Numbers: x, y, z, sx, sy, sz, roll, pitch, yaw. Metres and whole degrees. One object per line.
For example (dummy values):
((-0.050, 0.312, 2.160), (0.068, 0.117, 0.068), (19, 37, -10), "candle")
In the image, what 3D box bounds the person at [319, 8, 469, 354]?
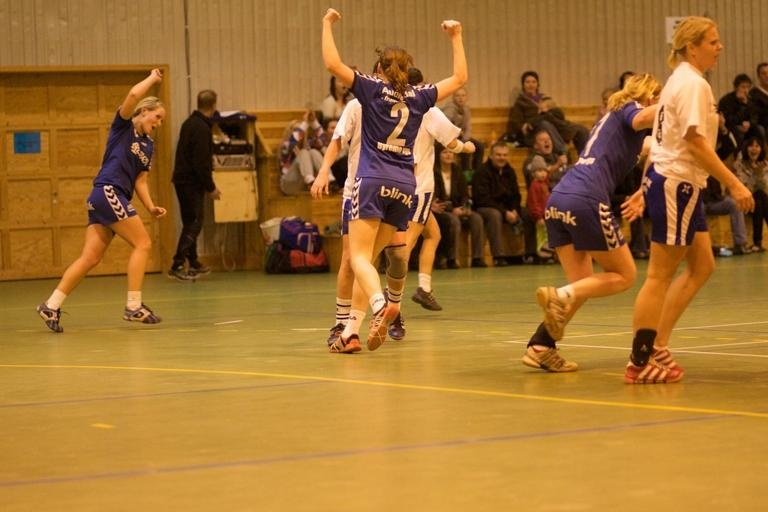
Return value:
((0.060, -0.577, 5.586), (1.049, 2.545, 0.779), (0, 5, -6), "person")

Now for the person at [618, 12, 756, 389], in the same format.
((1.908, -0.347, 4.531), (0.648, 2.291, 0.510), (3, 5, 26), "person")

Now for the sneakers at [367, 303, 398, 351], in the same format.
((-0.017, 0.510, 5.448), (0.144, 0.429, 0.168), (0, 34, -36), "sneakers")

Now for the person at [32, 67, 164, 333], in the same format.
((-2.796, -0.559, 7.470), (1.066, 2.617, 0.797), (-1, 5, -17), "person")

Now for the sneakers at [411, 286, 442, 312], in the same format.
((0.510, 0.524, 8.301), (0.443, 0.189, 0.176), (31, 13, -38), "sneakers")

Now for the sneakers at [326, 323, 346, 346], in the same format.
((-0.401, 0.667, 6.187), (0.147, 0.191, 0.439), (-2, -5, -1), "sneakers")

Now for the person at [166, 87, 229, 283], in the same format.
((-3.276, -1.135, 12.744), (0.770, 2.949, 0.957), (-1, 5, -15), "person")

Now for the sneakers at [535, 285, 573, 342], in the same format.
((1.113, 0.359, 4.822), (0.210, 0.472, 0.159), (-12, 16, -11), "sneakers")

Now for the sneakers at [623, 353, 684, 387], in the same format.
((1.690, 0.727, 4.673), (0.409, 0.191, 0.149), (-2, 4, -10), "sneakers")

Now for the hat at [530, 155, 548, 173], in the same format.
((2.878, -1.720, 13.666), (0.331, 0.291, 0.248), (-4, -4, 43), "hat")

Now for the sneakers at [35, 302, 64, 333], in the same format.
((-3.393, 0.619, 7.444), (0.244, 0.285, 0.360), (-1, 6, -17), "sneakers")

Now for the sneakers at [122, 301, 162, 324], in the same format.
((-2.495, 0.609, 7.668), (0.499, 0.252, 0.178), (7, 4, -7), "sneakers")

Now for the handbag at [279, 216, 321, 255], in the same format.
((-1.523, -0.377, 13.167), (0.742, 0.761, 0.501), (6, -17, -9), "handbag")

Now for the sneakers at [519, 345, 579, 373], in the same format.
((1.110, 0.698, 5.037), (0.445, 0.204, 0.151), (6, 11, -11), "sneakers")

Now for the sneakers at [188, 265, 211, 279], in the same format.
((-3.254, 0.281, 12.674), (0.477, 0.224, 0.180), (-7, 1, 11), "sneakers")

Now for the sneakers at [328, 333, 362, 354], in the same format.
((-0.302, 0.710, 5.870), (0.121, 0.121, 0.256), (2, -1, -37), "sneakers")
